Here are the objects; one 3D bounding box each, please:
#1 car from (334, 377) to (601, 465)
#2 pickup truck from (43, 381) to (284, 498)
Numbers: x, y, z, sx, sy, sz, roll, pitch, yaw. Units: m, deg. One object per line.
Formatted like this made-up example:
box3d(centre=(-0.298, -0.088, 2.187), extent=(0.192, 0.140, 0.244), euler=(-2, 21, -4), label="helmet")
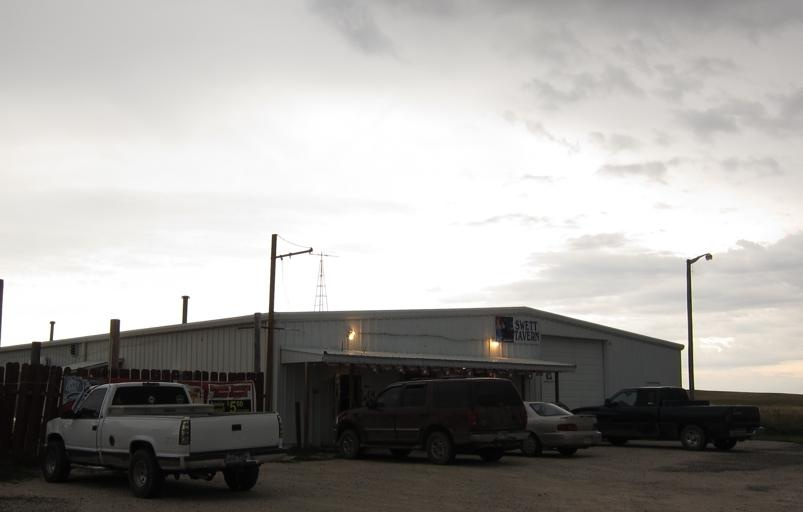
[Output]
box3d(centre=(1.932, 5.256, 25.687), extent=(7.840, 2.657, 3.124), euler=(0, -12, -6), label="car")
box3d(centre=(-6.178, 4.634, 20.492), extent=(5.921, 2.848, 2.175), euler=(-8, -13, 28), label="pickup truck")
